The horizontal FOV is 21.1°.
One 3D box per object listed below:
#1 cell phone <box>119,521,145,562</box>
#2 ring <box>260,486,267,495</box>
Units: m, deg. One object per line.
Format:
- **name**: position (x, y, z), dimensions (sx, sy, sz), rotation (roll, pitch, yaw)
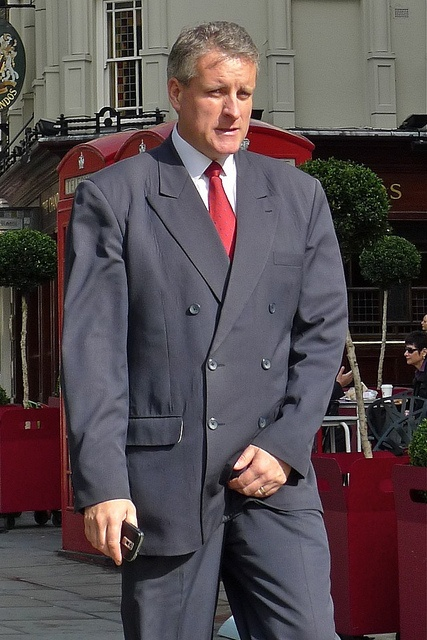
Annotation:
- **cell phone**: position (-0.175, 0.481, 2.441), dimensions (0.068, 0.089, 0.032), rotation (1, 2, 44)
- **ring**: position (0.112, 0.388, 2.560), dimensions (0.013, 0.014, 0.017), rotation (3, 4, 5)
